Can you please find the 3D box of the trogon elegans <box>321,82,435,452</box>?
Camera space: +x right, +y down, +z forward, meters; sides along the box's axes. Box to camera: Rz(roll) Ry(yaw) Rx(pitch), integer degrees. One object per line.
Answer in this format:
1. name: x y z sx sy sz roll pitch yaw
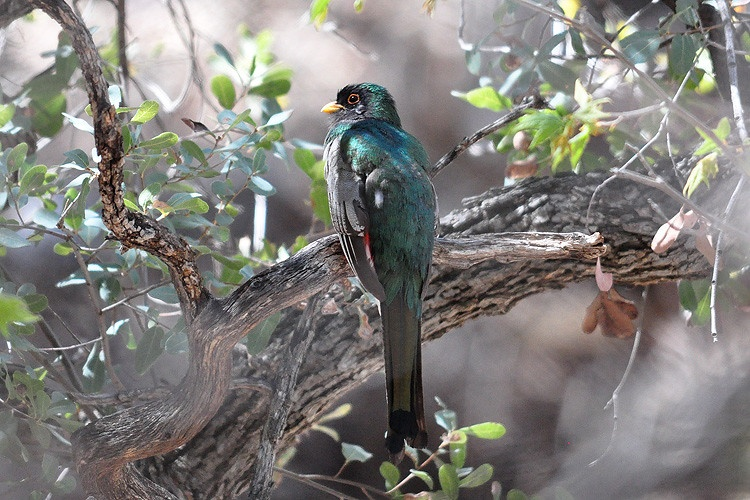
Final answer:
1. trogon elegans: -0.113 0.052 5.551 0.705 2.184 0.896 -1 -11 -15
